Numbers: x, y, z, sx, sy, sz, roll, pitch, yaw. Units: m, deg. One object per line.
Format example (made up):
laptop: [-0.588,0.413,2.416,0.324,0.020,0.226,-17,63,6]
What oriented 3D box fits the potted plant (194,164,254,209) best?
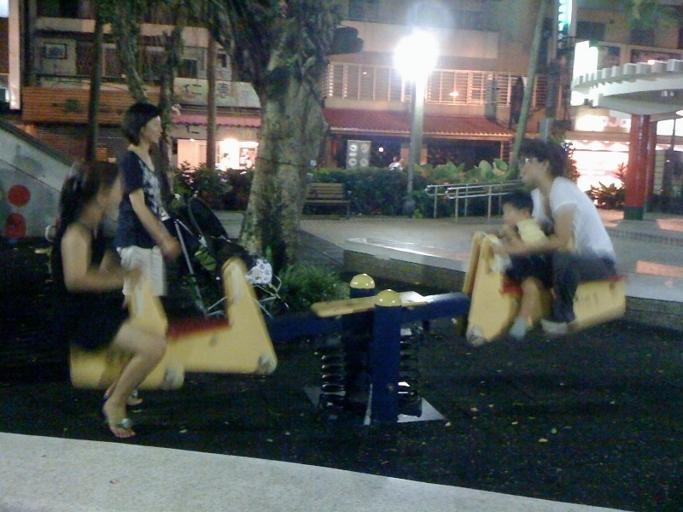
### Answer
potted plant: [-3.483,-2.055,21.160,2.010,1.564,2.124,3,10,9]

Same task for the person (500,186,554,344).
person: [1.721,0.057,6.413,0.456,1.248,0.967,2,8,13]

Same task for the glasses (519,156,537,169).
glasses: [1.787,-0.882,6.583,0.111,0.089,0.115,3,4,7]

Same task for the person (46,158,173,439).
person: [-1.778,0.348,5.233,0.741,2.081,0.381,-2,8,-17]

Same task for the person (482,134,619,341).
person: [2.036,-0.244,6.605,1.073,1.711,1.087,-4,2,10]

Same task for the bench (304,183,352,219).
bench: [-0.517,-1.657,20.032,1.765,0.791,1.137,-2,-25,15]

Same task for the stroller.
stroller: [-1.216,0.082,7.141,1.145,1.376,1.617,-1,8,-9]

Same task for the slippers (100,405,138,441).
slippers: [-1.760,1.296,5.373,0.394,0.180,0.138,18,0,35]
